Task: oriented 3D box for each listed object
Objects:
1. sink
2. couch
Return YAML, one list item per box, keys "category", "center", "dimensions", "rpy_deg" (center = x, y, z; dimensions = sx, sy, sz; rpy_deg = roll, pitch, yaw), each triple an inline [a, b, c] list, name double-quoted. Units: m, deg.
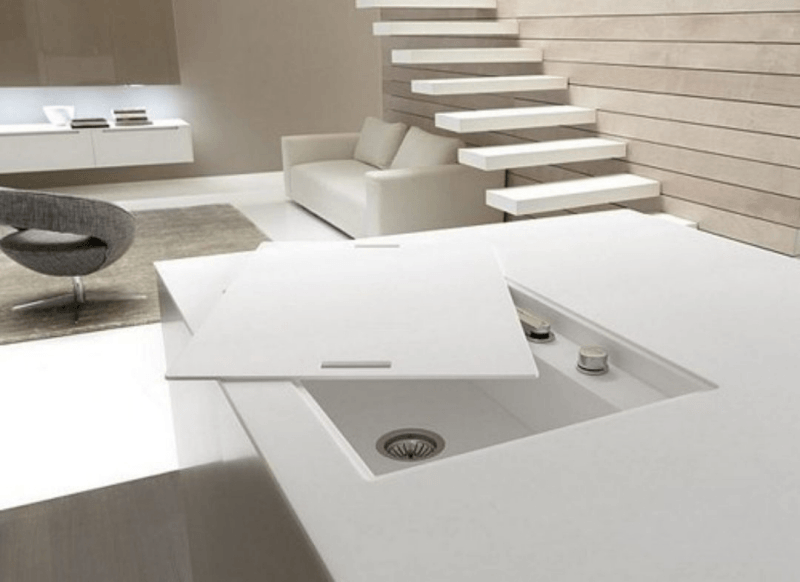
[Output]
- category: "sink"
  center: [0.172, 0.225, 0.989]
  dimensions: [0.467, 0.273, 0.529]
  rpy_deg: [-15, 28, -34]
- category: "couch"
  center: [-0.152, -1.053, 5.219]
  dimensions: [1.122, 0.892, 2.476]
  rpy_deg: [-12, 27, -28]
